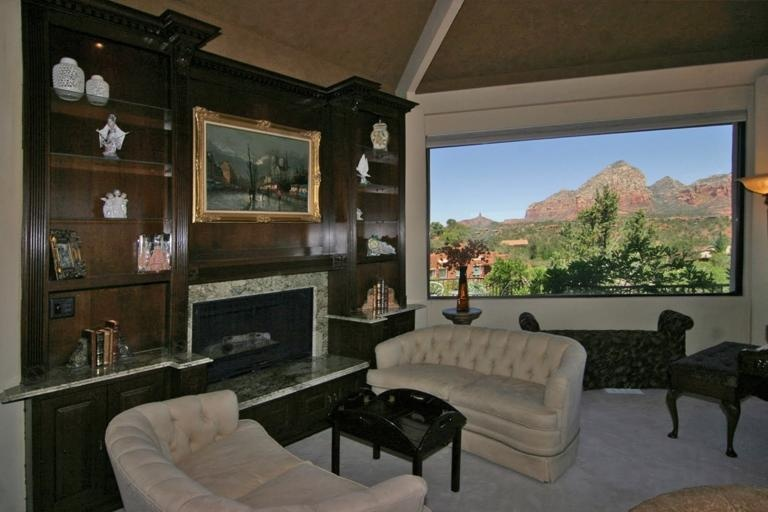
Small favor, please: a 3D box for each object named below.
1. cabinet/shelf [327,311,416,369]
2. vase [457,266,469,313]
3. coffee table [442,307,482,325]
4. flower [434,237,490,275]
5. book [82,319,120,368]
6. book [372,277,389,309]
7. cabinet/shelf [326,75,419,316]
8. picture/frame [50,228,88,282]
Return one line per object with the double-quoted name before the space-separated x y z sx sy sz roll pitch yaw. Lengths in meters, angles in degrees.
"cabinet/shelf" -0.161 0.763 6.551 0.639 0.768 1.102 0 2 33
"vase" 1.021 0.403 6.800 0.147 0.530 0.417 2 15 8
"coffee table" 0.976 0.746 6.680 0.306 0.208 0.311 1 4 24
"flower" 1.068 -0.046 7.234 0.609 0.392 0.550 -3 4 24
"book" -2.519 0.758 4.778 0.432 0.452 0.350 -3 -2 38
"book" -0.052 0.477 6.703 0.208 0.335 0.467 0 15 1
"cabinet/shelf" -0.186 -0.736 6.696 0.683 2.810 1.609 9 18 31
"picture/frame" -2.731 -0.019 4.569 0.125 0.405 0.319 -8 -3 36
